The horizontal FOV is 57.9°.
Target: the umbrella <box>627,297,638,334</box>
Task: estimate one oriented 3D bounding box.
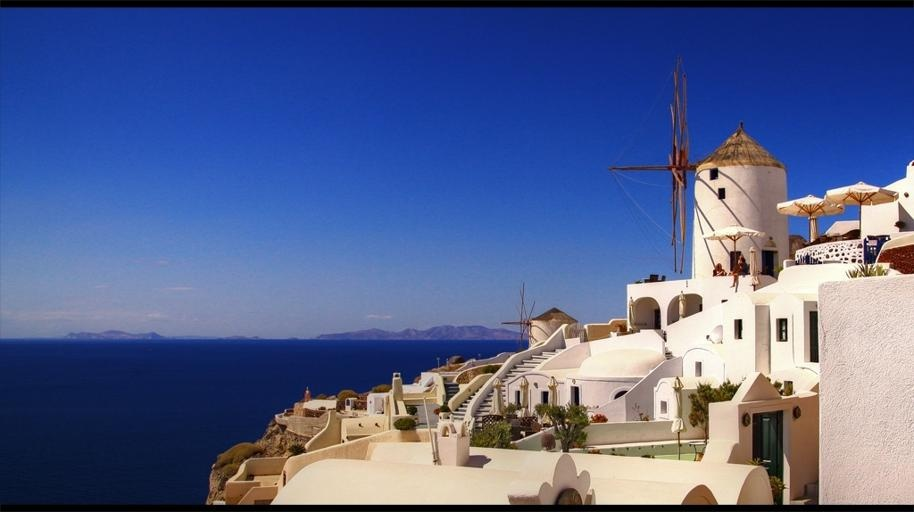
[{"bbox_3d":[14.868,4.962,70.413,0.852,2.678,1.093,10,-1,-2],"label":"umbrella"}]

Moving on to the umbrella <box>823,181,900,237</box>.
[{"bbox_3d":[27.676,-3.533,57.099,3.855,2.948,4.238,7,-1,36],"label":"umbrella"}]
